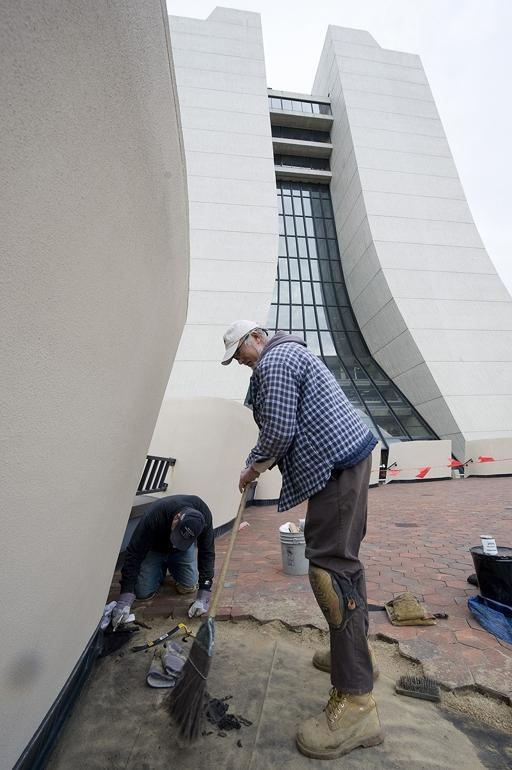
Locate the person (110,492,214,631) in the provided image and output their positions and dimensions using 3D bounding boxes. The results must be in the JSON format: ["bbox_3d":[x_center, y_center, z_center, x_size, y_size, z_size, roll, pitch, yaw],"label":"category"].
[{"bbox_3d":[-0.497,1.012,2.766,0.474,0.764,0.762,12,8,3],"label":"person"}]

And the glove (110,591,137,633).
[{"bbox_3d":[-0.708,1.224,2.444,0.093,0.145,0.117,-6,-3,-5],"label":"glove"}]

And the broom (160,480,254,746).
[{"bbox_3d":[-0.155,0.866,1.929,0.187,0.176,1.028,8,31,5],"label":"broom"}]

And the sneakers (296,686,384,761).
[{"bbox_3d":[0.272,1.092,1.520,0.259,0.275,0.139,4,-14,4],"label":"sneakers"}]

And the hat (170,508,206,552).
[{"bbox_3d":[-0.364,0.756,2.456,0.146,0.122,0.231,36,34,-23],"label":"hat"}]
